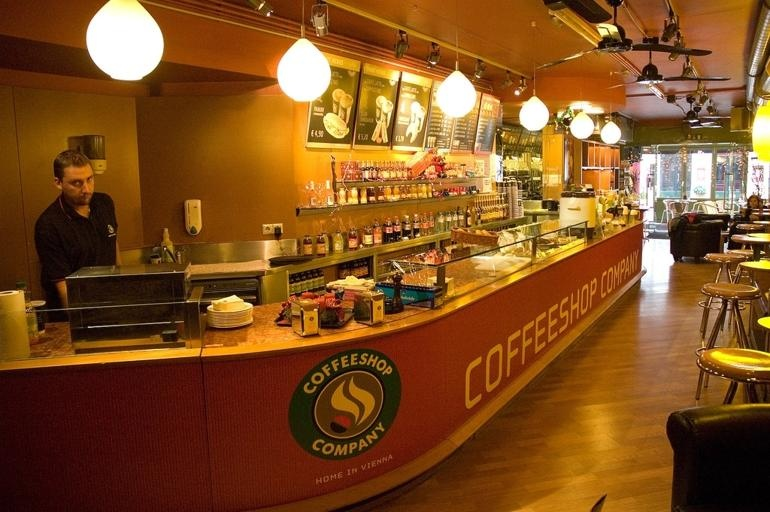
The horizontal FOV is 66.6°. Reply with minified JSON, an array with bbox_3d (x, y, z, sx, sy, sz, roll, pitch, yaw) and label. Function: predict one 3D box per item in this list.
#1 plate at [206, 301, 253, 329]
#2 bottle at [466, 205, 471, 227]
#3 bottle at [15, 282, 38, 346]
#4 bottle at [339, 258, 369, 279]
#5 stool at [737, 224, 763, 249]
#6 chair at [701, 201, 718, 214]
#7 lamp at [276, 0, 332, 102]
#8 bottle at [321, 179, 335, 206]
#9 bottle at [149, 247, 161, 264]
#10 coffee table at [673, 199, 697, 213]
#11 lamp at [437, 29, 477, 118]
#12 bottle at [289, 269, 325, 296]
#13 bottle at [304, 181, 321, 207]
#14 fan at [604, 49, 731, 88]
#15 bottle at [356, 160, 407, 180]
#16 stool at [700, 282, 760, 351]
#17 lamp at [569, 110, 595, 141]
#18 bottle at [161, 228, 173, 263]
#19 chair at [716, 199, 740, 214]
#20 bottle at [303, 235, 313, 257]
[{"bbox_3d":[-1.187,0.463,4.483,0.227,0.095,0.228,2,5,15],"label":"plate"},{"bbox_3d":[1.370,-0.670,9.538,0.115,0.285,0.361,6,14,8],"label":"bottle"},{"bbox_3d":[-2.587,0.385,4.261,0.110,0.409,0.457,-5,17,-32],"label":"bottle"},{"bbox_3d":[-0.403,0.147,7.240,0.083,0.237,0.257,1,4,38],"label":"bottle"},{"bbox_3d":[6.055,-0.364,9.697,0.449,0.452,0.458,9,13,43],"label":"stool"},{"bbox_3d":[9.963,-1.524,17.857,0.487,0.286,1.108,12,16,29],"label":"chair"},{"bbox_3d":[-0.667,-1.571,4.849,0.413,0.501,0.212,2,14,-8],"label":"lamp"},{"bbox_3d":[-0.684,-0.802,7.228,0.131,0.265,0.262,3,14,-1],"label":"bottle"},{"bbox_3d":[-2.486,-0.011,6.344,0.118,0.139,0.250,-2,15,-21],"label":"bottle"},{"bbox_3d":[9.308,-1.562,18.239,0.683,0.400,0.390,0,15,-15],"label":"coffee table"},{"bbox_3d":[0.709,-1.630,5.757,0.349,0.454,0.319,7,14,13],"label":"lamp"},{"bbox_3d":[-0.873,0.285,6.407,0.296,0.254,0.090,-4,3,-43],"label":"bottle"},{"bbox_3d":[-0.856,-0.773,7.062,0.135,0.265,0.235,14,17,35],"label":"bottle"},{"bbox_3d":[4.364,-2.948,9.088,1.262,0.492,1.253,-1,4,-19],"label":"fan"},{"bbox_3d":[-0.003,-1.158,7.881,0.261,0.242,0.945,14,18,36],"label":"bottle"},{"bbox_3d":[3.982,0.711,6.751,0.670,0.745,0.673,-1,13,11],"label":"stool"},{"bbox_3d":[3.052,-2.048,9.031,0.283,0.390,0.421,10,15,23],"label":"lamp"},{"bbox_3d":[-2.396,-0.134,6.440,0.146,0.348,0.122,5,14,5],"label":"bottle"},{"bbox_3d":[10.518,-1.566,17.909,0.648,0.324,0.713,10,16,25],"label":"chair"},{"bbox_3d":[-0.902,-0.134,6.889,0.137,0.209,0.328,2,14,-7],"label":"bottle"}]
